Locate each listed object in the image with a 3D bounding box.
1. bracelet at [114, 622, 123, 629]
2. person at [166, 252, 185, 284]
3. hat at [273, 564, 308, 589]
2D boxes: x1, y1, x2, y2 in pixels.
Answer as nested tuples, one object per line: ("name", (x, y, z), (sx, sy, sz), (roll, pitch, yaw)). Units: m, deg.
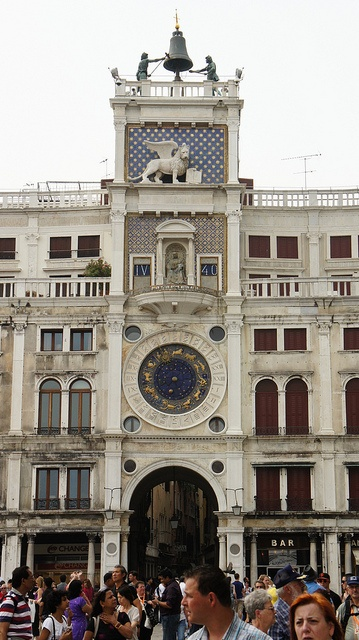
("bracelet", (-1.238, 5.850, 30.310), (0.070, 0.129, 0.111), (-4, -7, -21))
("person", (-0.237, -2.100, 61.339), (0.743, 1.453, 0.463), (0, -17, -2))
("hat", (2.050, 4.812, 29.462), (0.508, 0.341, 0.337), (-20, 0, -5))
